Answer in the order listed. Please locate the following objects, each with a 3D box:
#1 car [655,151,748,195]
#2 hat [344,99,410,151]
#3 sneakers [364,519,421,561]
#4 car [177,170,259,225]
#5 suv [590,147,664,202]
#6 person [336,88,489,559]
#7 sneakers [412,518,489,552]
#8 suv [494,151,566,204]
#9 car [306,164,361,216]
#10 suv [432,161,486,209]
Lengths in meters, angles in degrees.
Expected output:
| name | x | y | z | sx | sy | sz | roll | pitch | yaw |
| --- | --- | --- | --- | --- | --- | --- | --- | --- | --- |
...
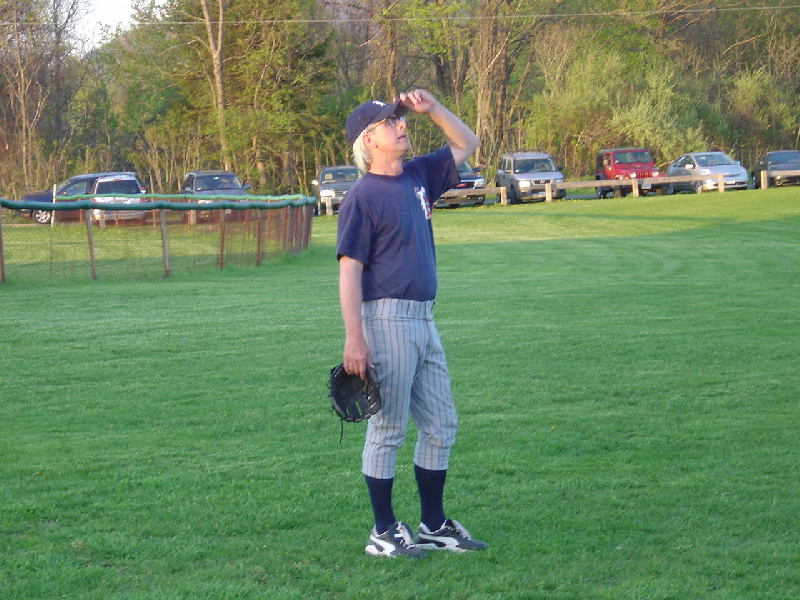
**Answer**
| name | x | y | z | sx | sy | sz | roll | pitch | yaw |
| --- | --- | --- | --- | --- | --- | --- | --- | --- | --- |
| car | 9.894 | -4.111 | 32.048 | 1.375 | 0.943 | 2.552 | -4 | 3 | -21 |
| hat | -0.155 | -1.221 | 6.825 | 0.366 | 0.205 | 0.266 | -32 | 7 | 8 |
| sneakers | -0.054 | 1.647 | 6.770 | 0.368 | 0.240 | 0.196 | 1 | 3 | -3 |
| car | -4.766 | -2.998 | 26.388 | 1.937 | 1.683 | 3.391 | -3 | 5 | -22 |
| suv | 7.945 | -4.489 | 34.566 | 1.361 | 1.293 | 2.466 | -2 | 3 | -11 |
| person | 0.008 | 0.132 | 6.907 | 0.828 | 3.044 | 1.120 | -1 | 14 | 3 |
| sneakers | 0.352 | 1.654 | 6.927 | 0.519 | 0.243 | 0.202 | 2 | 0 | 2 |
| suv | 4.213 | -4.141 | 33.487 | 1.325 | 1.163 | 2.348 | -3 | 5 | -12 |
| car | -2.094 | -3.483 | 31.333 | 1.973 | 1.599 | 3.702 | -2 | 5 | -6 |
| suv | 2.122 | -4.099 | 33.602 | 1.779 | 1.721 | 3.754 | -1 | 0 | -4 |
